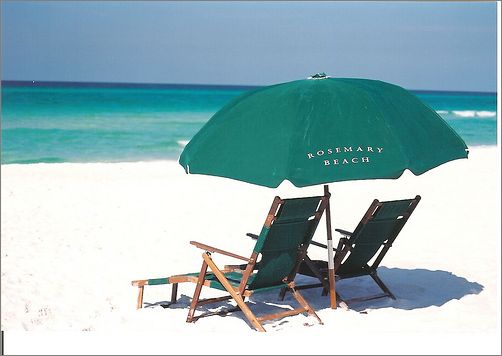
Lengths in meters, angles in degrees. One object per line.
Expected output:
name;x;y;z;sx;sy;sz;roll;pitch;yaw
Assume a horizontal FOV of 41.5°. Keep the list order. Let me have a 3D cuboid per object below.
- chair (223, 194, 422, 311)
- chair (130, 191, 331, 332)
chair;1.668;1.272;12.477;1.756;2.281;3.133;5;-5;-39
chair;-0.457;1.429;11.627;3.279;2.286;1.670;0;1;38
